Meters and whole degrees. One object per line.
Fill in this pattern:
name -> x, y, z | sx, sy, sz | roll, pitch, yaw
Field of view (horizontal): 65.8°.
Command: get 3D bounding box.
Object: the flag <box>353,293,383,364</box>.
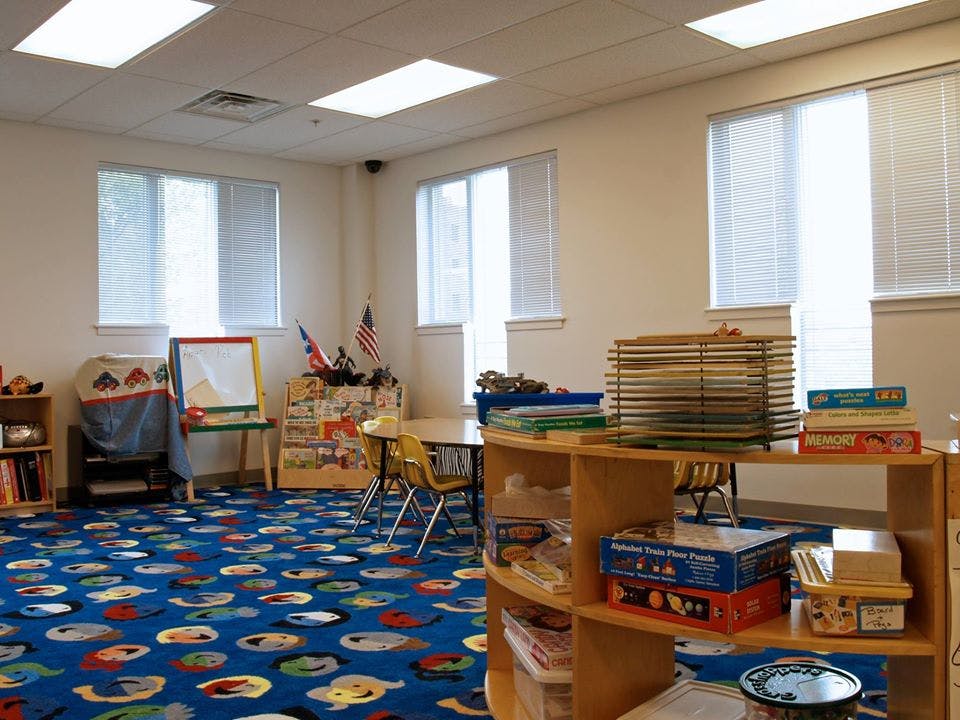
flag -> -1.271, -0.342, 8.302 | 0.252, 0.760, 1.005 | -2, 1, -9

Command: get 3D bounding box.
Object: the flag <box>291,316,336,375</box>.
flag -> -1.891, -0.161, 8.377 | 0.366, 0.595, 0.871 | -2, 2, -16

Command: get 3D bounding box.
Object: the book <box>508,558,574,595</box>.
book -> 0.209, 0.722, 2.470 | 0.166, 0.039, 0.221 | -1, 3, -29

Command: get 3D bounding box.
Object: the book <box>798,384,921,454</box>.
book -> 1.042, 0.164, 2.038 | 0.308, 0.178, 0.096 | -1, 2, 16

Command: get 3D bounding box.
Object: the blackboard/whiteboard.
blackboard/whiteboard -> -2.804, 0.178, 7.724 | 0.956, 0.782, 0.362 | 1, -10, -38

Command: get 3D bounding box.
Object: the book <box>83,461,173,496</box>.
book -> -3.436, 1.154, 7.144 | 0.512, 0.107, 0.523 | -1, 4, -34

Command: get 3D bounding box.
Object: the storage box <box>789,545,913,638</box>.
storage box -> 1.088, 0.674, 2.167 | 0.305, 0.164, 0.350 | -1, 1, 19
